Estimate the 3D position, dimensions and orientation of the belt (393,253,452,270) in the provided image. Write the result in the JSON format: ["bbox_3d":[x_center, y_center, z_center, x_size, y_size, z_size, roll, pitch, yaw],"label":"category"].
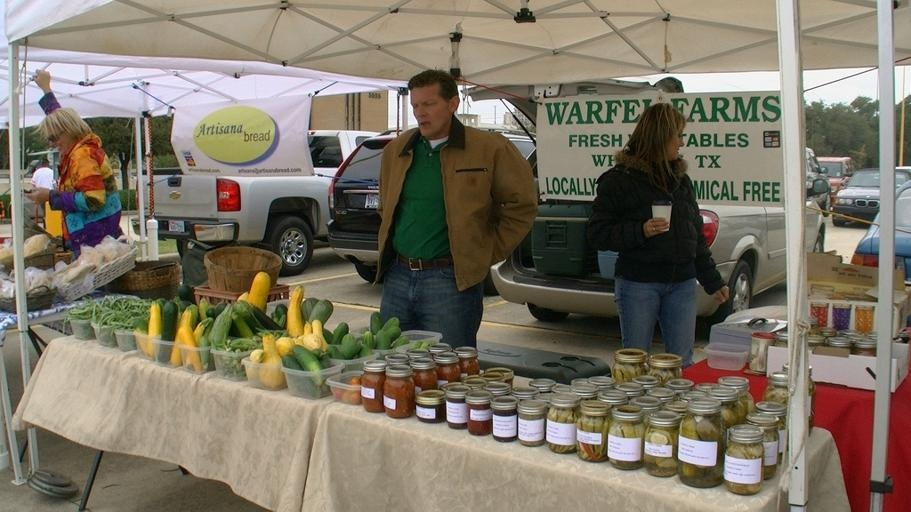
[{"bbox_3d":[-0.243,0.060,5.328,0.437,0.105,0.075,2,5,15],"label":"belt"}]

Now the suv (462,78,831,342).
[{"bbox_3d":[2.875,-0.538,9.594,2.988,2.748,5.585,1,5,41],"label":"suv"}]

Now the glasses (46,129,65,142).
[{"bbox_3d":[-3.838,-1.162,6.731,0.107,0.104,0.039,-3,1,20],"label":"glasses"}]

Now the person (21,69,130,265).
[{"bbox_3d":[-3.736,-0.615,6.973,0.912,2.254,0.793,-9,29,-41],"label":"person"}]

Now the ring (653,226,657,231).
[{"bbox_3d":[1.472,-0.203,5.164,0.030,0.028,0.029,-1,16,0],"label":"ring"}]

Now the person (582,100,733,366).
[{"bbox_3d":[1.695,0.107,5.637,1.183,2.539,0.869,-4,3,-20],"label":"person"}]

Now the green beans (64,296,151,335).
[{"bbox_3d":[-2.578,0.425,5.287,0.401,0.145,0.484,1,1,0],"label":"green beans"}]

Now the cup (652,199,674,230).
[{"bbox_3d":[1.517,-0.302,5.150,0.133,0.217,0.112,0,5,-3],"label":"cup"}]

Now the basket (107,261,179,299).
[{"bbox_3d":[-3.021,0.230,6.807,0.585,0.470,0.465,1,0,-35],"label":"basket"}]
